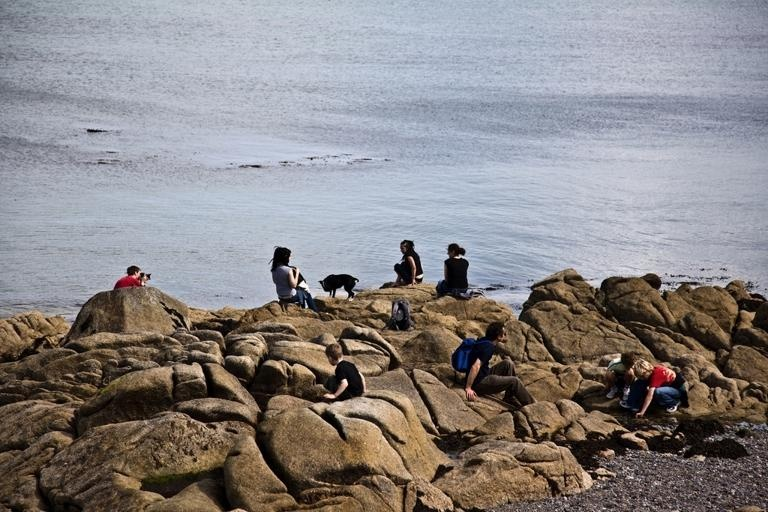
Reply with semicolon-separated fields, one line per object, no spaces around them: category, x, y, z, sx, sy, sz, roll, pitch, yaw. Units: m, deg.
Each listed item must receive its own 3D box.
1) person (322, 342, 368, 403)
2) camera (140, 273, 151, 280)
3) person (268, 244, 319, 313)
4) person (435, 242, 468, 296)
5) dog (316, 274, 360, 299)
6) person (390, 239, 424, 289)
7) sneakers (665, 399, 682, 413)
person;-1.401;4.013;37.717;1.392;2.028;0.877;2;14;-1
camera;-9.633;0.769;43.871;0.410;0.155;0.400;4;-3;-25
person;-3.738;0.856;43.502;1.687;2.408;0.659;2;14;1
person;2.734;0.476;44.311;1.246;2.224;1.015;2;14;1
dog;-1.984;1.208;46.021;1.490;0.968;1.340;4;12;9
person;0.968;0.213;45.634;1.118;1.938;0.806;4;14;6
sneakers;10.504;5.392;39.638;0.701;0.260;0.250;-27;11;-30
